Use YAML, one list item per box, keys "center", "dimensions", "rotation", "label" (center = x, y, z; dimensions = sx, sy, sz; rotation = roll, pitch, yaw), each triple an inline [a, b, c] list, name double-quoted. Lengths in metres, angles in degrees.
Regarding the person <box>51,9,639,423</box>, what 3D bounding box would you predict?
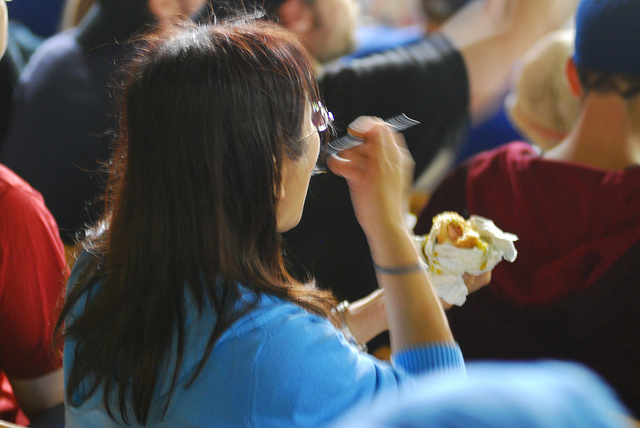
- center: [-0.096, 0.147, 2.779]
  dimensions: [1.317, 1.244, 1.084]
  rotation: [7, 21, 2]
  label: "person"
